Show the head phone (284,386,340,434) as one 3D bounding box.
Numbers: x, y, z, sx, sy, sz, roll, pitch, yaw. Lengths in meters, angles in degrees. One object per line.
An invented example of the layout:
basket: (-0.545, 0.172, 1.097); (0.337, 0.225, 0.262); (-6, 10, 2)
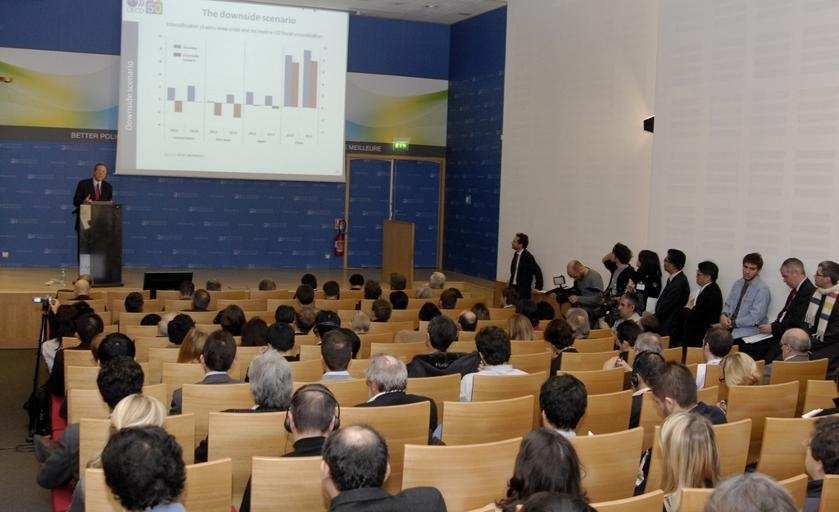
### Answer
head phone: (-0.754, 1.065, 4.384); (0.295, 0.264, 0.328); (2, -6, -8)

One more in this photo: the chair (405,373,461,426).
chair: (0.130, 1.269, 5.814); (0.386, 0.709, 0.436); (-2, 9, -24)

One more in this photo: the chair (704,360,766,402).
chair: (2.903, 1.161, 5.718); (0.300, 0.586, 0.378); (-6, 17, -9)

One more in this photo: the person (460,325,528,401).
person: (0.758, 1.037, 5.894); (0.691, 0.689, 0.371); (-3, -4, -1)

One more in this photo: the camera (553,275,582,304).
camera: (2.522, 0.603, 10.547); (0.457, 0.227, 0.469); (-1, 6, -14)

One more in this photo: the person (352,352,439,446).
person: (-0.248, 1.160, 5.237); (0.607, 1.118, 0.703); (-1, 6, -15)

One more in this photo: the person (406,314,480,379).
person: (0.197, 0.886, 6.193); (0.942, 0.618, 0.482); (-4, 27, -12)

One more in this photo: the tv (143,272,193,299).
tv: (-4.242, 0.407, 10.342); (0.817, 0.614, 0.560); (1, -6, -18)

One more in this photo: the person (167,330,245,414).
person: (-1.791, 1.081, 5.458); (0.803, 0.791, 0.396); (5, -24, -24)

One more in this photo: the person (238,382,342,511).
person: (-0.911, 1.359, 4.319); (0.755, 0.888, 0.477); (7, 19, -13)

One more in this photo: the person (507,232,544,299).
person: (2.085, 0.181, 12.056); (0.372, 1.227, 0.858); (-2, 3, -32)

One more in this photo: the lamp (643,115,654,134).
lamp: (3.850, -2.198, 10.371); (0.063, 0.242, 0.236); (1, 6, -22)
